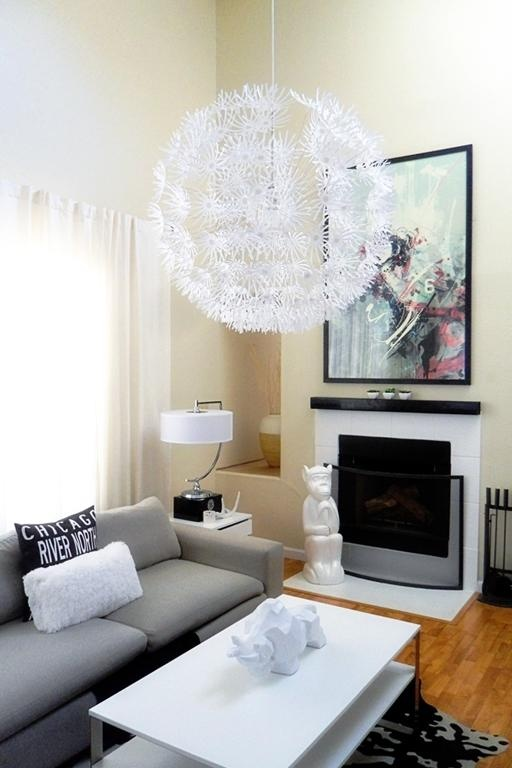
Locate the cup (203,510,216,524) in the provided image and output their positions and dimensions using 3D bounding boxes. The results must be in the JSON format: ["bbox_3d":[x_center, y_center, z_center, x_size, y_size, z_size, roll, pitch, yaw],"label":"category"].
[{"bbox_3d":[-0.271,0.778,3.516,0.057,0.081,0.081,-2,-6,18],"label":"cup"}]

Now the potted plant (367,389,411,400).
[{"bbox_3d":[0.870,0.073,3.929,0.285,0.063,0.097,2,7,30],"label":"potted plant"}]

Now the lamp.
[{"bbox_3d":[-0.342,0.367,3.473,0.389,0.603,0.368,-5,7,-45],"label":"lamp"}]
